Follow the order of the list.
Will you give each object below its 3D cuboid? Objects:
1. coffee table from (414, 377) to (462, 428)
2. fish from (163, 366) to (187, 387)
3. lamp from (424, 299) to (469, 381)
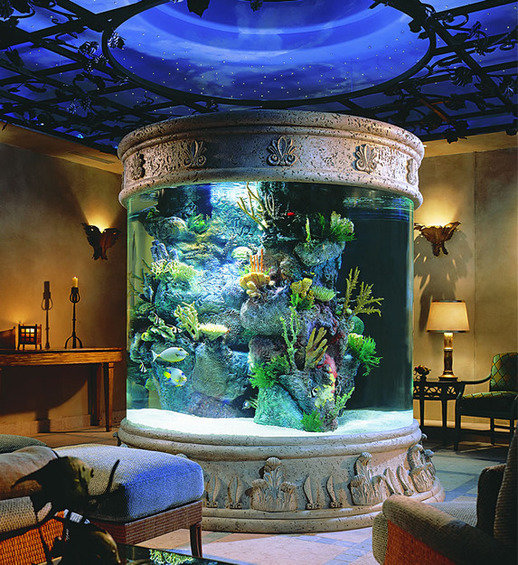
[{"bbox_3d":[2.277,1.444,6.808,0.705,0.708,0.844,-1,-5,17],"label":"coffee table"},{"bbox_3d":[-0.567,0.640,3.468,0.157,0.106,0.037,-1,0,-10],"label":"fish"},{"bbox_3d":[2.556,0.749,6.963,0.536,1.035,0.849,-1,0,19],"label":"lamp"}]
